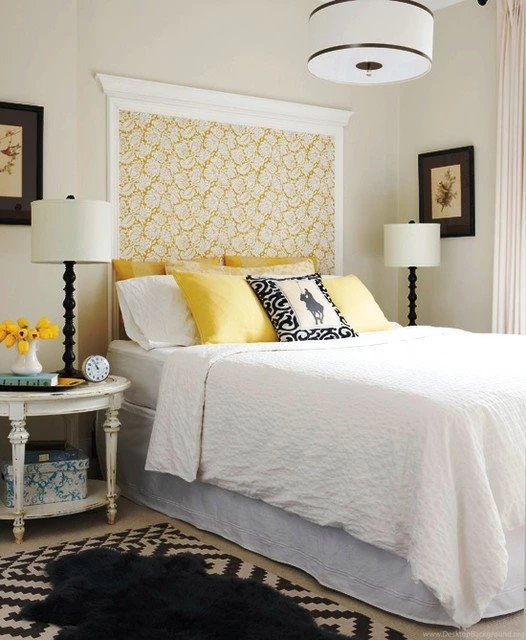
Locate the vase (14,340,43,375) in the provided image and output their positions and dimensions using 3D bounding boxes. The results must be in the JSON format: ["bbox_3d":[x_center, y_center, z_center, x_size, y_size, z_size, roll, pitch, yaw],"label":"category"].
[{"bbox_3d":[-0.901,0.144,2.225,0.093,0.130,0.061,0,-3,-29],"label":"vase"}]

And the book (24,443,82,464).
[{"bbox_3d":[-0.838,0.528,2.302,0.133,0.032,0.133,2,-2,-36],"label":"book"}]

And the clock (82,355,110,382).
[{"bbox_3d":[-0.676,0.199,2.351,0.031,0.086,0.087,-7,-28,45],"label":"clock"}]
